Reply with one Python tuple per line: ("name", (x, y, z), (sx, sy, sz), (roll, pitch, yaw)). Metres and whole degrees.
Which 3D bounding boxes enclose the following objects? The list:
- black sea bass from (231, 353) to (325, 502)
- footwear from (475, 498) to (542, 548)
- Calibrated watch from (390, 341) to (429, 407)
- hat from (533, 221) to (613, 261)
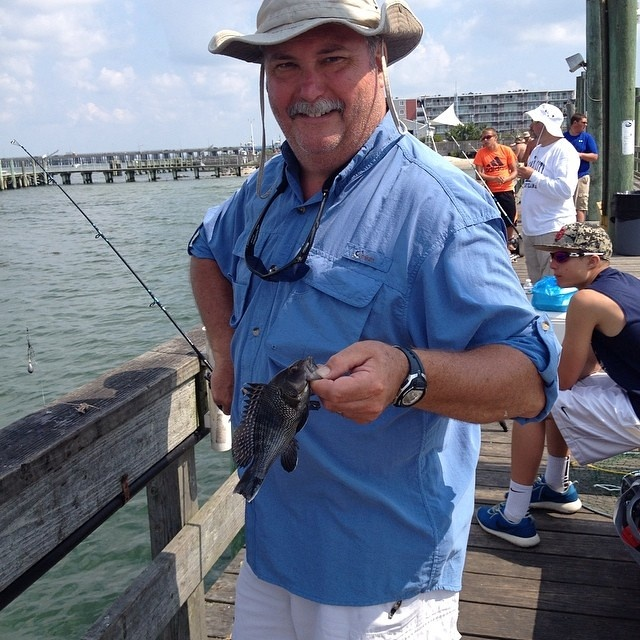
("black sea bass", (-0.098, 0.238, 1.361), (0.201, 0.338, 0.274), (-5, 12, -8))
("footwear", (0.929, 1.025, 3.140), (0.131, 0.138, 0.343), (9, 1, -34))
("Calibrated watch", (0.188, 0.112, 1.259), (0.078, 0.113, 0.111), (0, 51, -9))
("hat", (1.298, -0.400, 3.169), (0.317, 0.147, 0.212), (6, 2, 4))
